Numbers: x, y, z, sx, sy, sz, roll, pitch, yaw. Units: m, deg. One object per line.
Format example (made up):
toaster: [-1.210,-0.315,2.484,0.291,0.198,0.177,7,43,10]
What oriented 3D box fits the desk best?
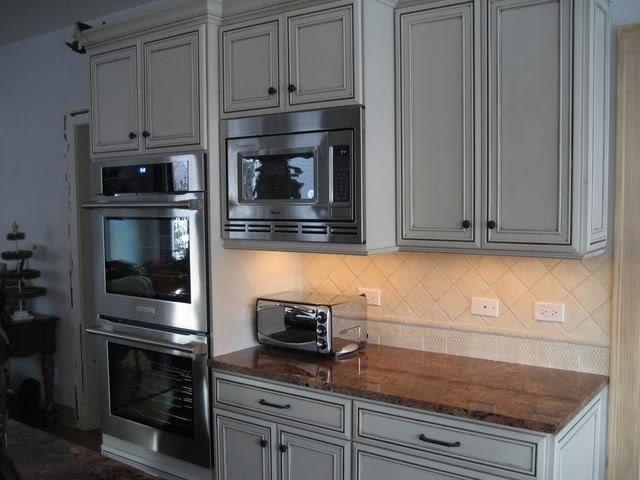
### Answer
desk: [-2.273,1.008,4.224,0.377,0.792,0.191,-6,11,-27]

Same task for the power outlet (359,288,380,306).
power outlet: [0.299,0.341,3.100,0.107,0.088,0.011,10,10,31]

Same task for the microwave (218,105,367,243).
microwave: [-0.112,-0.345,2.680,0.786,0.612,0.370,2,1,31]

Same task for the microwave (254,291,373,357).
microwave: [-0.034,0.392,2.944,0.500,0.245,0.366,2,1,32]

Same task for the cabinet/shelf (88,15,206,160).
cabinet/shelf: [-0.943,-0.850,3.179,1.025,0.699,0.368,3,5,32]
